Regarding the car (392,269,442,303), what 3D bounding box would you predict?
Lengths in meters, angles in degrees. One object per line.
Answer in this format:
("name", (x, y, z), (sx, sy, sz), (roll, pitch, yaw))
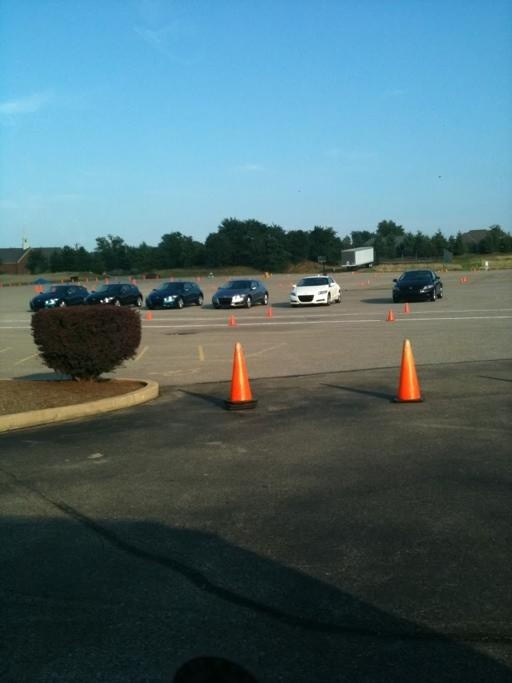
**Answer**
("car", (7.481, -2.546, 32.187), (1.291, 0.981, 3.020), (-1, 1, 18))
